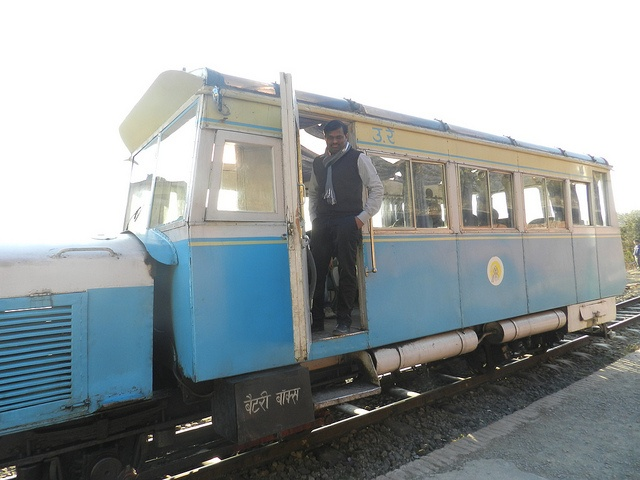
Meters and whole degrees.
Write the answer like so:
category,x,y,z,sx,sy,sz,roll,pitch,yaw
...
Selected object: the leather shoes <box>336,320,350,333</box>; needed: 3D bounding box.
category,x,y,z,sx,sy,sz,roll,pitch,yaw
leather shoes,0.261,0.997,4.797,0.077,0.084,0.205,-1,-9,19
